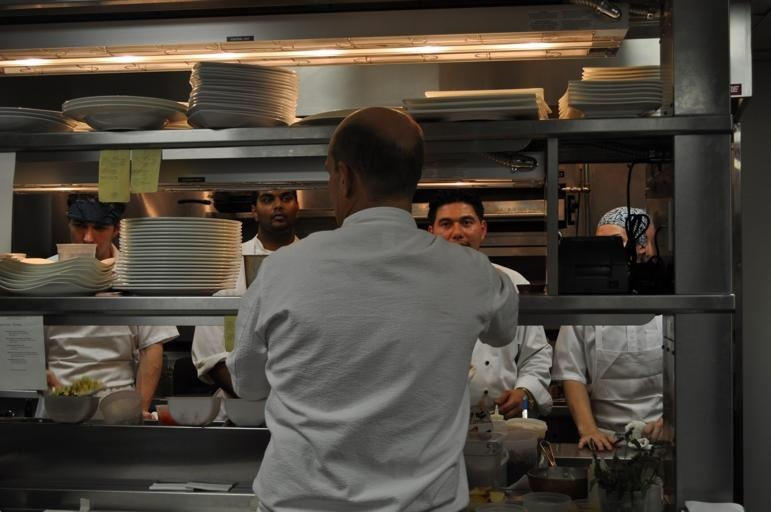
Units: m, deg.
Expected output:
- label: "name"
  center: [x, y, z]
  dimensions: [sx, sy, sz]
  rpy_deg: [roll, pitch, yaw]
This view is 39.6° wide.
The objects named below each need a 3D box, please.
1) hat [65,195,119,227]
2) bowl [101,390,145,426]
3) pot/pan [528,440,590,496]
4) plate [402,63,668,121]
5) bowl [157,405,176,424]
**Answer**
- label: "hat"
  center: [-1.461, -0.247, 5.382]
  dimensions: [0.236, 0.139, 0.266]
  rpy_deg: [2, 4, -2]
- label: "bowl"
  center: [-1.045, 0.612, 4.297]
  dimensions: [0.146, 0.094, 0.150]
  rpy_deg: [-15, -34, -10]
- label: "pot/pan"
  center: [0.653, 0.857, 4.186]
  dimensions: [0.219, 0.133, 0.370]
  rpy_deg: [3, 10, -7]
- label: "plate"
  center: [0.549, -0.602, 4.021]
  dimensions: [0.952, 0.194, 0.189]
  rpy_deg: [-1, -2, 3]
- label: "bowl"
  center: [-0.876, 0.635, 4.291]
  dimensions: [0.078, 0.049, 0.079]
  rpy_deg: [4, -6, 0]
